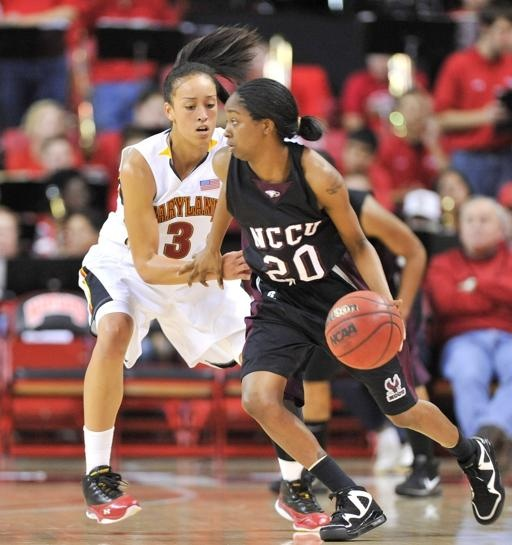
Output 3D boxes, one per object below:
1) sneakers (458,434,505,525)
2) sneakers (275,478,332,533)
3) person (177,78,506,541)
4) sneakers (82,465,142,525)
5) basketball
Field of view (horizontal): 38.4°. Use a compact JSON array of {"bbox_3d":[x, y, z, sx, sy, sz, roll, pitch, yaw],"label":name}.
[{"bbox_3d":[0.803,0.763,2.741,0.177,0.319,0.135,10,-22,-42],"label":"sneakers"},{"bbox_3d":[0.163,0.845,2.653,0.112,0.102,0.268,2,-2,-22],"label":"sneakers"},{"bbox_3d":[0.109,0.058,2.451,0.688,1.320,0.825,2,26,-5],"label":"person"},{"bbox_3d":[-0.524,0.775,2.584,0.133,0.125,0.312,-20,5,-29],"label":"sneakers"},{"bbox_3d":[0.379,0.198,2.403,0.293,0.244,0.250,-12,6,9],"label":"basketball"}]
